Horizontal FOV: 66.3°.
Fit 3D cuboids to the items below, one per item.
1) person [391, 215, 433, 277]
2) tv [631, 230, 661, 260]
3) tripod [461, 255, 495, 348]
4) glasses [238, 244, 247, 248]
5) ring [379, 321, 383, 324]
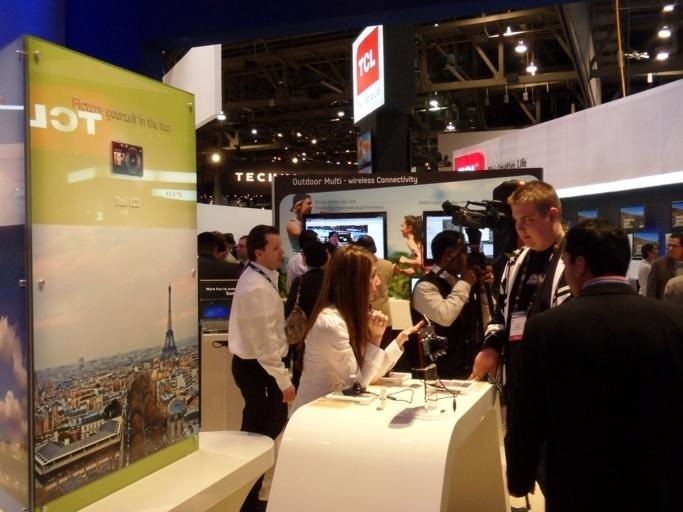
[{"bbox_3d":[0.787,0.008,5.949,0.456,0.893,0.282,5,9,32],"label":"person"},{"bbox_3d":[3.977,-0.177,6.872,0.037,0.367,0.357,3,-3,-18],"label":"tv"},{"bbox_3d":[0.803,0.356,3.178,0.134,0.462,0.101,0,15,28],"label":"tripod"},{"bbox_3d":[-1.175,-0.134,6.134,0.062,0.019,0.059,10,-12,-35],"label":"glasses"},{"bbox_3d":[0.197,0.335,2.702,0.013,0.014,0.003,9,6,3],"label":"ring"}]
